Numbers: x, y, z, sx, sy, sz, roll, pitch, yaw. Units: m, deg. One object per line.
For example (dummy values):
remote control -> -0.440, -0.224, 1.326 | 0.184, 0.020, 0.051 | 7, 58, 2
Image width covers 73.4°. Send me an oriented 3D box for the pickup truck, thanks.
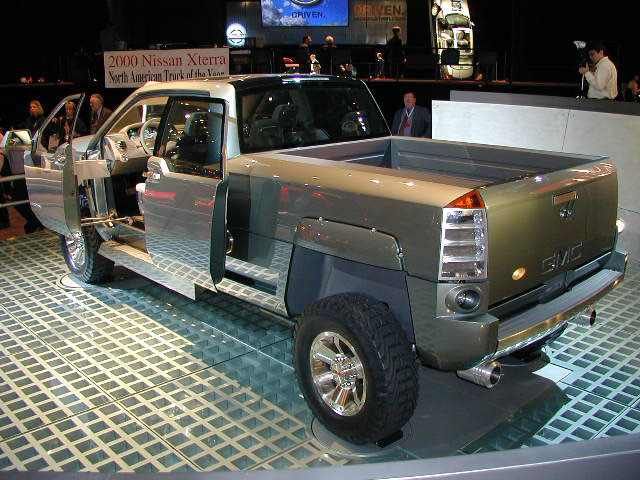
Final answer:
pickup truck -> -0.623, -0.170, 4.085 | 5.227, 1.825, 2.929 | 20, 26, 36
